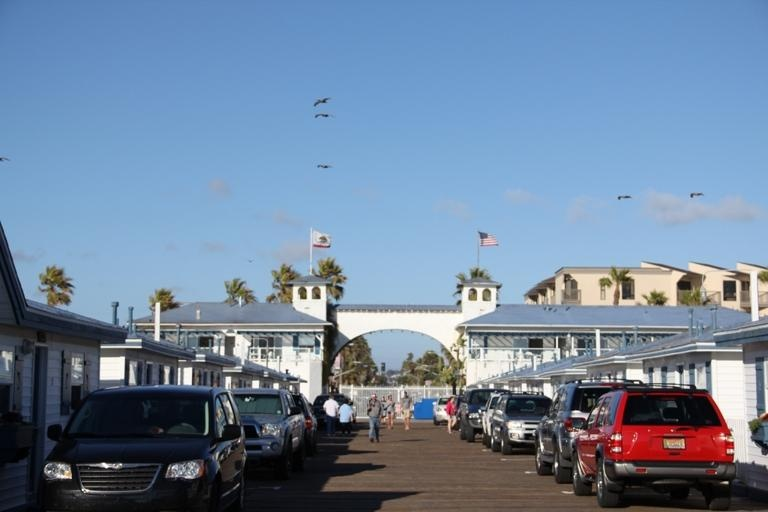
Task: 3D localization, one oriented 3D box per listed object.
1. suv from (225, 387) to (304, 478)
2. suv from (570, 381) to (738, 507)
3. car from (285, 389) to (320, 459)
[{"bbox_3d":[-3.271,4.842,31.654,1.586,1.483,3.097,-1,-13,7],"label":"suv"},{"bbox_3d":[6.029,4.230,25.349,3.553,2.719,2.132,-6,-14,23],"label":"suv"},{"bbox_3d":[-2.714,5.629,38.076,1.032,1.089,2.435,0,-1,6],"label":"car"}]
